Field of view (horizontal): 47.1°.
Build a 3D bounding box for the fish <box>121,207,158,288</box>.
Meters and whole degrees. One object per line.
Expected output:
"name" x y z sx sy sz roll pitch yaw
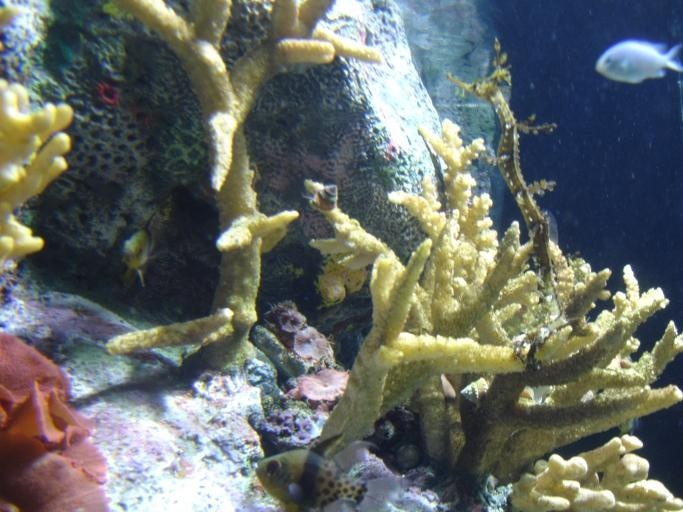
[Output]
"fish" -1.575 -0.047 6.184 0.185 0.532 0.318 33 31 25
